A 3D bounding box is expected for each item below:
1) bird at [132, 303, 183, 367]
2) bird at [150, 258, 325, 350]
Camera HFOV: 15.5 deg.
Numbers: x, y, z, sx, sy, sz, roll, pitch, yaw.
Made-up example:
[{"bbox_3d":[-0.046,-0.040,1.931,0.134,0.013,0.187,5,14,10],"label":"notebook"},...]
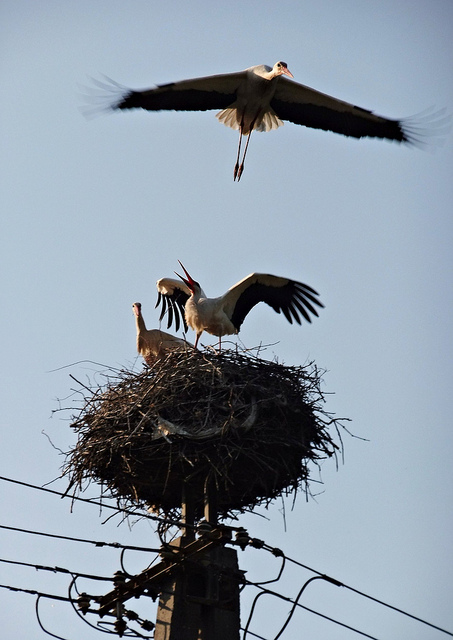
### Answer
[{"bbox_3d":[-0.641,0.195,15.116,0.387,0.584,0.211,-25,-35,18],"label":"bird"},{"bbox_3d":[0.032,-0.197,17.540,1.226,0.590,0.920,-5,-22,35],"label":"bird"}]
